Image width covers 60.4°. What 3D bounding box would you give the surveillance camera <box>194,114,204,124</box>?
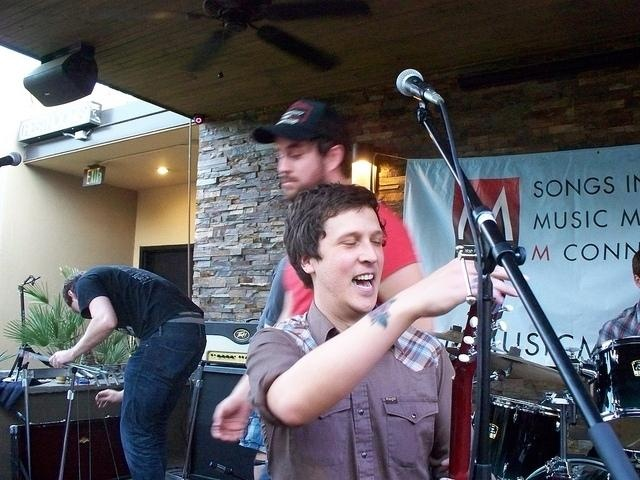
[{"bbox_3d":[-1.178,-1.187,5.370,0.094,0.081,0.066,4,-2,-12],"label":"surveillance camera"}]

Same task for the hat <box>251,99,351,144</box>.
[{"bbox_3d":[-0.064,-0.508,2.356,0.263,0.181,0.405,16,9,43],"label":"hat"}]

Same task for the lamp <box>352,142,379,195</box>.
[{"bbox_3d":[0.308,-0.572,4.222,0.223,0.306,0.220,-5,13,-41],"label":"lamp"}]

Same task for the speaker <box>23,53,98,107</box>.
[{"bbox_3d":[-1.987,-1.260,4.232,0.626,0.368,0.337,-2,-3,35],"label":"speaker"}]
